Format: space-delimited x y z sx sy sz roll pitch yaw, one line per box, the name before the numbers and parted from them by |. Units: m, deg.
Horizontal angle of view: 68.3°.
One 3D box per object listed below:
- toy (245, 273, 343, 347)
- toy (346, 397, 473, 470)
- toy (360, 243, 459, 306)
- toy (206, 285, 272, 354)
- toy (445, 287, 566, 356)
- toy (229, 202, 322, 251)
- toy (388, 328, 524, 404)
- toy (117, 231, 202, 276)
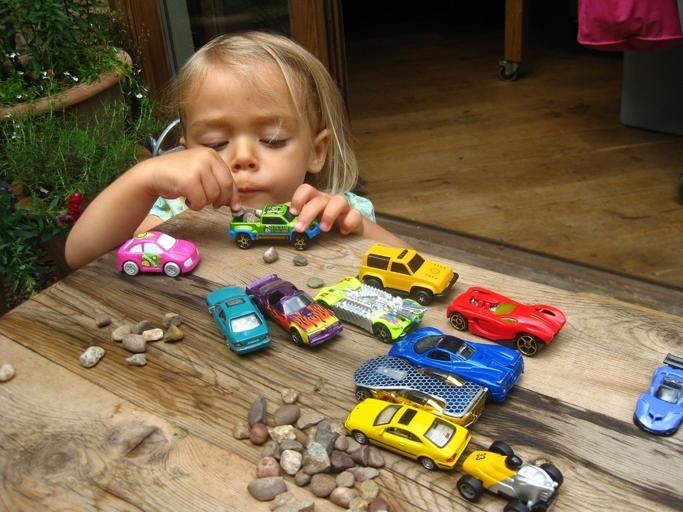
toy | -0.102 0.124 1.131 0.108 0.066 0.224 -36 44 -29
toy | 0.112 0.299 0.864 0.202 0.045 0.083 14 48 22
toy | 0.151 0.034 1.194 0.219 0.076 0.116 13 42 23
toy | -0.222 0.126 1.092 0.092 0.049 0.178 -20 43 -24
toy | 0.339 0.135 1.051 0.217 0.047 0.113 15 44 31
toy | -0.164 -0.084 1.385 0.252 0.081 0.112 1 35 3
toy | 0.211 0.200 0.970 0.227 0.049 0.115 18 36 26
toy | -0.453 -0.009 1.291 0.206 0.073 0.093 2 40 5
